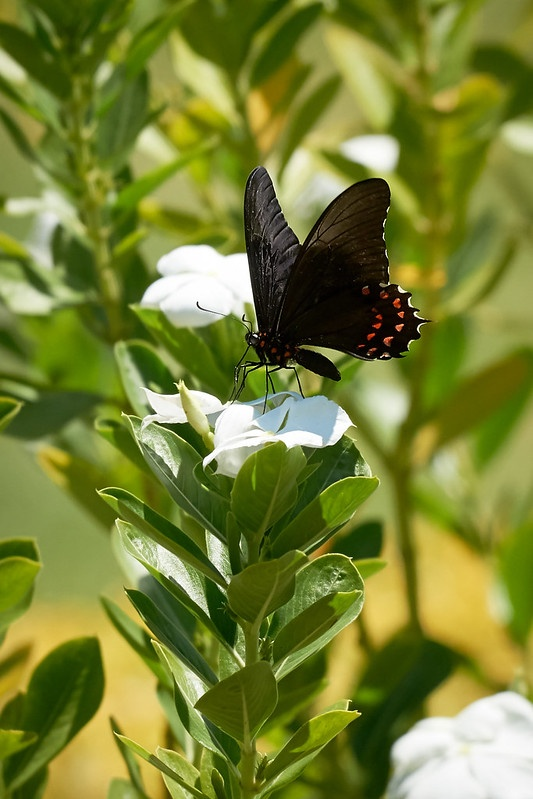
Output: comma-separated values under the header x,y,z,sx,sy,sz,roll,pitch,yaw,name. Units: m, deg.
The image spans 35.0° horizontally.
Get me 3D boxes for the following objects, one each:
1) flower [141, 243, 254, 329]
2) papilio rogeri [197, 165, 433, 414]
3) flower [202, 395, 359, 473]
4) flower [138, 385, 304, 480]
x,y,z,sx,sy,sz,roll,pitch,yaw,name
-0.050,-0.093,0.588,0.072,0.020,0.067,4,41,5,flower
0.037,-0.062,0.608,0.152,0.137,0.153,14,-26,12,papilio rogeri
0.004,0.011,0.428,0.053,0.020,0.051,2,16,29,flower
-0.028,0.018,0.431,0.071,0.028,0.055,13,11,-11,flower
